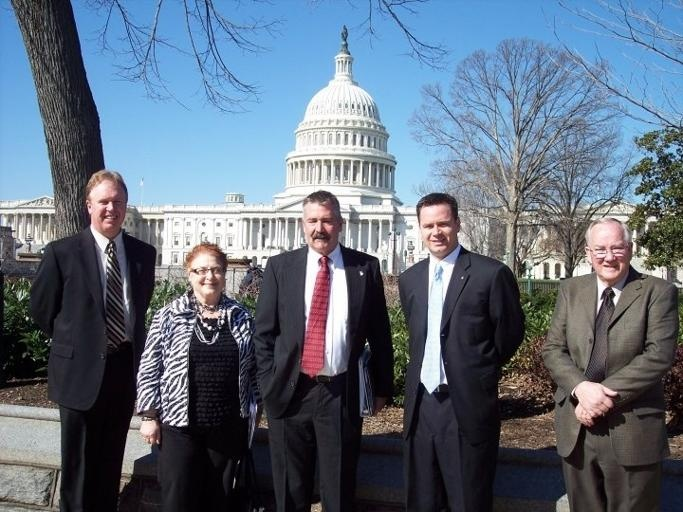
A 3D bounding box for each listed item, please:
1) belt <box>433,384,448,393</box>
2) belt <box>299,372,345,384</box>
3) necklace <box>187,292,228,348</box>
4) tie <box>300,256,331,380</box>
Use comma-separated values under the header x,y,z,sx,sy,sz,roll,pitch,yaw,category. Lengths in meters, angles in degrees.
x,y,z,sx,sy,sz,roll,pitch,yaw,category
0.767,1.018,4.919,0.061,0.035,0.089,-2,0,6,belt
-0.147,0.965,5.039,0.361,0.089,0.064,1,-1,3,belt
-1.067,0.507,5.112,0.202,0.374,0.085,6,-28,-17,necklace
-0.193,0.466,5.114,0.174,0.949,0.240,1,-1,16,tie
